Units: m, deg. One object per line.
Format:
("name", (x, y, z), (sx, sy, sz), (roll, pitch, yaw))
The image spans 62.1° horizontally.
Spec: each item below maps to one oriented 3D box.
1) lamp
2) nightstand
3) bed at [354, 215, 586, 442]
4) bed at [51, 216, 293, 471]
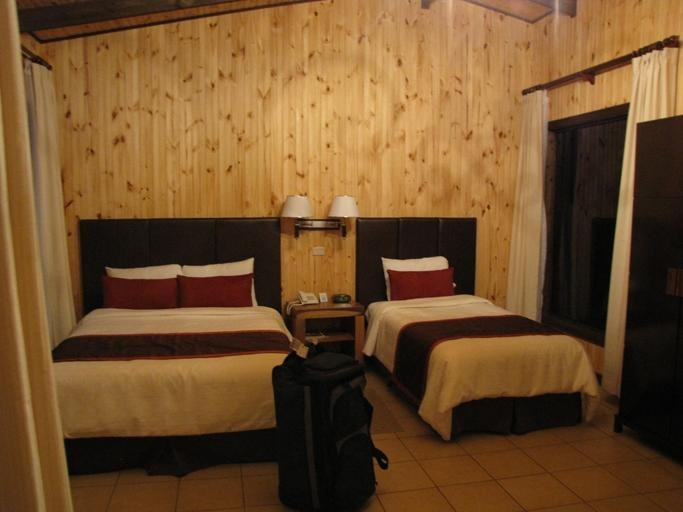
("lamp", (-0.188, -0.366, 5.491), (0.767, 0.438, 0.359), (-1, 13, -6))
("nightstand", (-0.146, 0.540, 5.515), (0.872, 0.672, 0.484), (0, 2, -12))
("bed", (1.054, 0.445, 5.075), (1.410, 1.537, 2.247), (-1, 7, -20))
("bed", (-1.288, 0.548, 4.536), (1.503, 1.345, 2.044), (-1, 9, -8))
